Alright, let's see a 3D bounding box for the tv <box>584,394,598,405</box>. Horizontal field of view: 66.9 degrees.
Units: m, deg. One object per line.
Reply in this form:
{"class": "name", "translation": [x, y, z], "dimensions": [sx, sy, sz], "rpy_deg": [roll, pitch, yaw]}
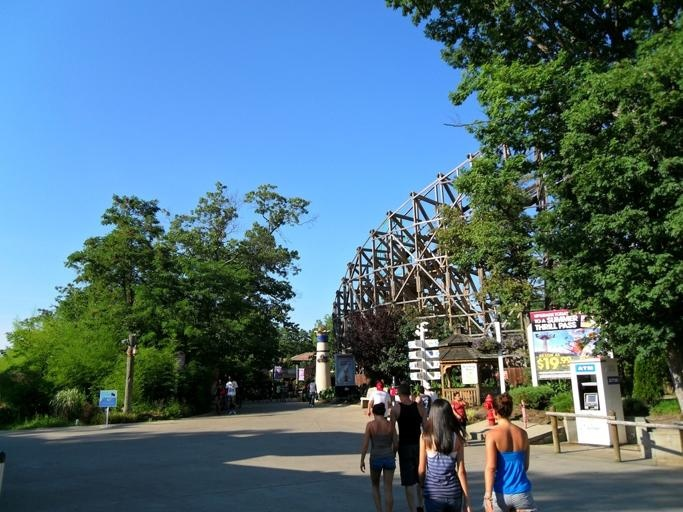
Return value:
{"class": "tv", "translation": [8.247, 4.749, 17.122], "dimensions": [0.176, 0.330, 0.339], "rpy_deg": [12, -16, -38]}
